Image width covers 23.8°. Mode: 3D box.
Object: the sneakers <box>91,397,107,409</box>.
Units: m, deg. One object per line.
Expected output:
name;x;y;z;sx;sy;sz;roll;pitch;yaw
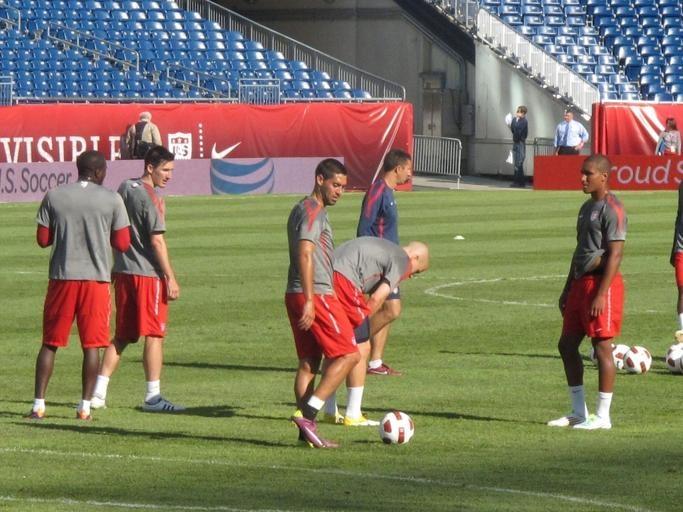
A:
sneakers;-3.275;1.961;21.710;0.170;0.157;0.134;-9;4;-30

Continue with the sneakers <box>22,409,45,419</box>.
sneakers;-4.082;2.073;21.311;0.282;0.130;0.102;5;1;15

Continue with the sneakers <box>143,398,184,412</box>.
sneakers;-2.406;1.974;21.800;0.592;0.247;0.203;0;0;-3

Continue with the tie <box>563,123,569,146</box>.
tie;5.835;-3.147;41.798;0.065;0.547;0.172;-10;18;-33

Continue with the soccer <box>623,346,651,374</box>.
soccer;4.236;1.486;23.213;0.360;0.374;0.365;-2;0;-10

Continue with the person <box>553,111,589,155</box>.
person;6.013;-3.172;41.775;0.757;1.241;0.865;-1;15;-3

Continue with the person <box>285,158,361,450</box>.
person;-0.284;0.603;20.662;0.873;3.515;1.105;-1;15;-2

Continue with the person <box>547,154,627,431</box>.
person;3.279;0.466;21.138;0.828;3.438;0.967;2;15;9

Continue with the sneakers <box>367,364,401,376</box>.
sneakers;0.600;1.622;23.100;0.492;0.202;0.170;0;-1;-4

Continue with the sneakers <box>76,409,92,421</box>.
sneakers;-3.410;2.084;21.324;0.142;0.128;0.131;-4;-1;11

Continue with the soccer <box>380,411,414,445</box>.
soccer;0.756;2.187;20.834;0.406;0.417;0.400;1;-1;-43
